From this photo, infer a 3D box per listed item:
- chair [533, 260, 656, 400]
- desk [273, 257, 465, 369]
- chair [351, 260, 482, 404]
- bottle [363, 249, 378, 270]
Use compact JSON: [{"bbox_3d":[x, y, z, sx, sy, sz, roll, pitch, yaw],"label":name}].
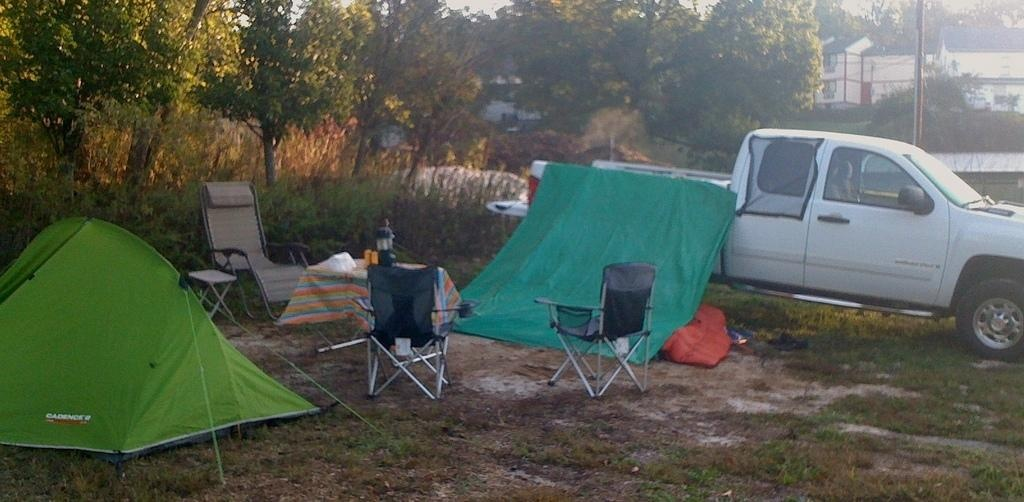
[{"bbox_3d":[1.743,1.407,17.321,1.844,2.470,1.623,3,9,12],"label":"chair"},{"bbox_3d":[-3.050,1.116,18.312,2.738,0.764,2.056,-7,13,-34],"label":"desk"},{"bbox_3d":[-1.929,1.473,17.272,2.697,2.474,1.989,2,2,13],"label":"chair"},{"bbox_3d":[-2.763,0.163,17.545,0.461,0.413,0.256,0,-3,-5],"label":"bottle"}]
